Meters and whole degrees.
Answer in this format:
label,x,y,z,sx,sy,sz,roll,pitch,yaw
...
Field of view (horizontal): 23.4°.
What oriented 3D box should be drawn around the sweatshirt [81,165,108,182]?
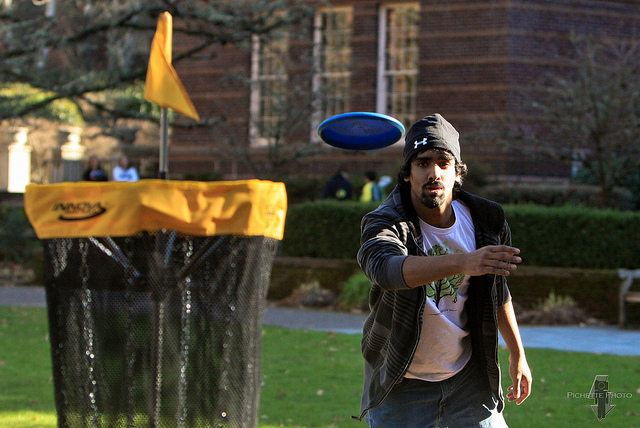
label,x,y,z,sx,sy,sz,roll,pitch,yaw
sweatshirt,-5.366,-0.968,36.313,0.602,0.187,0.616,-5,6,-27
